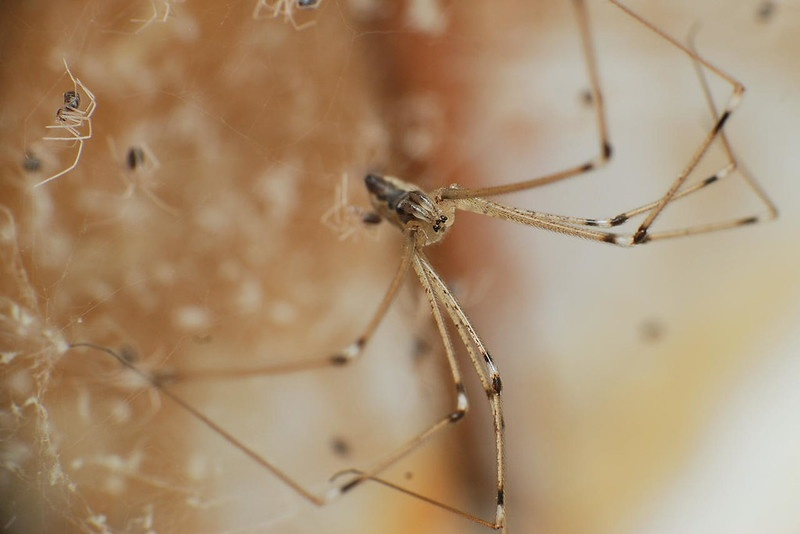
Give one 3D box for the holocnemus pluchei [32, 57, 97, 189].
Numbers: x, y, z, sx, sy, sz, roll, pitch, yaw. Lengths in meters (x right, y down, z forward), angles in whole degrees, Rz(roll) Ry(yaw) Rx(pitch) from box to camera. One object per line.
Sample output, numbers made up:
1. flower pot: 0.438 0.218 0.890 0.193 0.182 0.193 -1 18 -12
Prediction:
1. holocnemus pluchei: -0.906 -0.374 2.533 0.130 0.059 0.350 15 -81 -4
